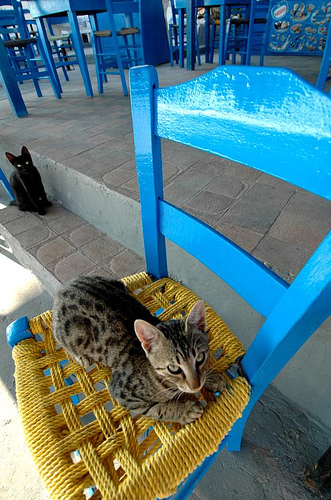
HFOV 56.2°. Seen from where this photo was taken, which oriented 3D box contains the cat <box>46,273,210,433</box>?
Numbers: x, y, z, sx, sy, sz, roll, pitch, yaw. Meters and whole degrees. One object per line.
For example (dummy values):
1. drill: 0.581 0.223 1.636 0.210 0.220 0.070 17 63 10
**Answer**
1. cat: -0.076 0.231 0.833 0.262 0.302 0.485 -22 48 -32
